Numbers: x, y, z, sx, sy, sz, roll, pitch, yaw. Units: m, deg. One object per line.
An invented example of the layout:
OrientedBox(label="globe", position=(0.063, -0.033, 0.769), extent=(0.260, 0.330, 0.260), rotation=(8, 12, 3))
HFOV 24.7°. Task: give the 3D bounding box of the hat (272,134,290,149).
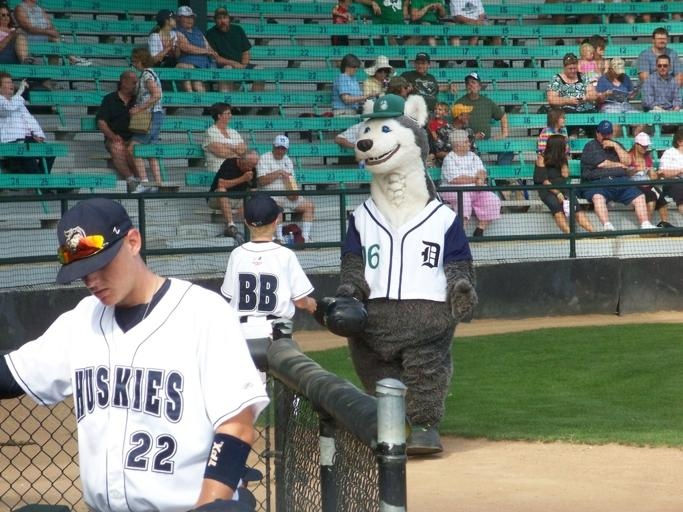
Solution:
OrientedBox(label="hat", position=(-0.863, -1.715, 23.091), extent=(0.187, 0.163, 0.298), rotation=(4, -2, -12))

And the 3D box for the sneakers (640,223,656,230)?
OrientedBox(label="sneakers", position=(4.625, -0.452, 23.482), extent=(0.087, 0.109, 0.268), rotation=(-4, -3, 23))

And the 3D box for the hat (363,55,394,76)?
OrientedBox(label="hat", position=(0.608, -3.115, 25.311), extent=(0.423, 0.252, 0.338), rotation=(-5, 1, 34))

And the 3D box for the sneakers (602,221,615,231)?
OrientedBox(label="sneakers", position=(4.016, -0.449, 23.406), extent=(0.114, 0.097, 0.223), rotation=(-2, -6, 9))

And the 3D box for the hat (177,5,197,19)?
OrientedBox(label="hat", position=(-2.417, -3.867, 24.616), extent=(0.228, 0.130, 0.176), rotation=(-1, 14, 16))

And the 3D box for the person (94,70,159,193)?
OrientedBox(label="person", position=(-3.253, -1.867, 23.250), extent=(0.608, 1.741, 0.594), rotation=(-3, 9, 11))

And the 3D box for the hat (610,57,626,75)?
OrientedBox(label="hat", position=(4.547, -3.141, 25.660), extent=(0.217, 0.298, 0.575), rotation=(-3, 10, 9))

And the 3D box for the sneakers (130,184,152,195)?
OrientedBox(label="sneakers", position=(-2.924, -1.022, 23.067), extent=(0.287, 0.137, 0.166), rotation=(-6, 10, -6))

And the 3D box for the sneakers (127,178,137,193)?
OrientedBox(label="sneakers", position=(-3.066, -1.050, 23.128), extent=(0.160, 0.227, 0.073), rotation=(0, -2, 8))

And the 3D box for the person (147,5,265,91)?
OrientedBox(label="person", position=(-2.128, -3.503, 25.059), extent=(0.404, 1.085, 1.590), rotation=(4, 13, 43))

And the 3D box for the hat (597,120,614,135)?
OrientedBox(label="hat", position=(4.109, -2.005, 24.213), extent=(0.170, 0.139, 0.249), rotation=(2, 8, 4))

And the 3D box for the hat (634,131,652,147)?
OrientedBox(label="hat", position=(4.731, -1.817, 24.413), extent=(0.247, 0.255, 0.363), rotation=(-3, 10, 10))
